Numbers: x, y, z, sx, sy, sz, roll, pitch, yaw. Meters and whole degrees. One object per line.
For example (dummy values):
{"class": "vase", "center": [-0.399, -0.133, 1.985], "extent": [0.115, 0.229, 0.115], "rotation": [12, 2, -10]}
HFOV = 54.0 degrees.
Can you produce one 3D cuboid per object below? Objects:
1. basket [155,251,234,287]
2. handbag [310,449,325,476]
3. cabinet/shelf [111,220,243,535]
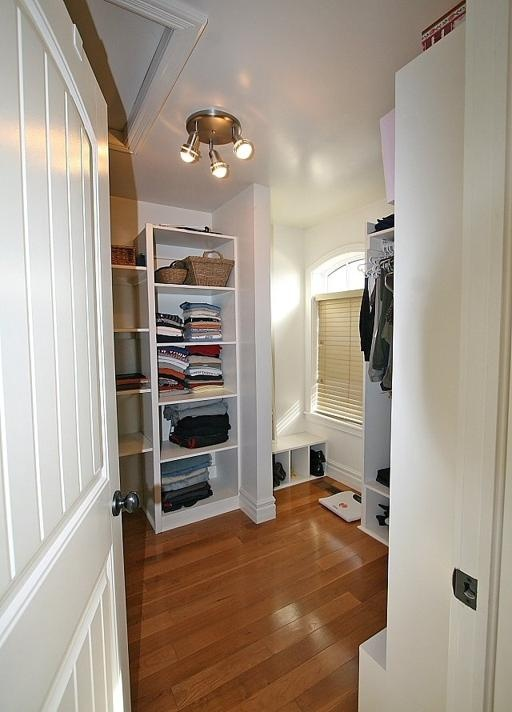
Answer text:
{"class": "basket", "center": [-0.332, -0.463, 2.873], "extent": [0.220, 0.207, 0.349], "rotation": [-2, 3, -24]}
{"class": "handbag", "center": [0.445, 0.788, 3.605], "extent": [0.065, 0.165, 0.216], "rotation": [-1, -1, -10]}
{"class": "cabinet/shelf", "center": [-0.474, 0.108, 3.004], "extent": [0.738, 1.684, 0.699], "rotation": [-3, 6, -21]}
